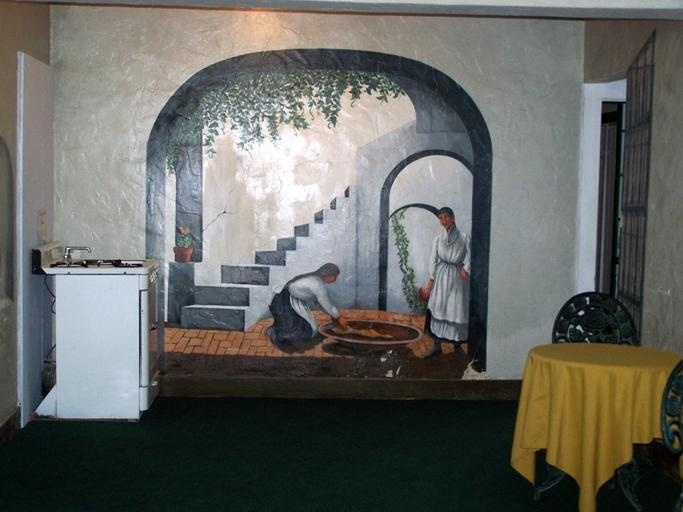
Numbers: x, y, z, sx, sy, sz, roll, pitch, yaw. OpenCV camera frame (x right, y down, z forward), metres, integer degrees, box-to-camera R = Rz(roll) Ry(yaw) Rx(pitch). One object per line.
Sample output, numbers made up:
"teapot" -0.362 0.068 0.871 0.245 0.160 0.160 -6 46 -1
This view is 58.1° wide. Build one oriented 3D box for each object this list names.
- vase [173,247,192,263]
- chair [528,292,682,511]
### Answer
"vase" -1.380 -0.011 5.385 0.127 0.108 0.133 1 -2 -14
"chair" 1.849 0.935 4.212 0.890 1.186 1.082 6 14 21
